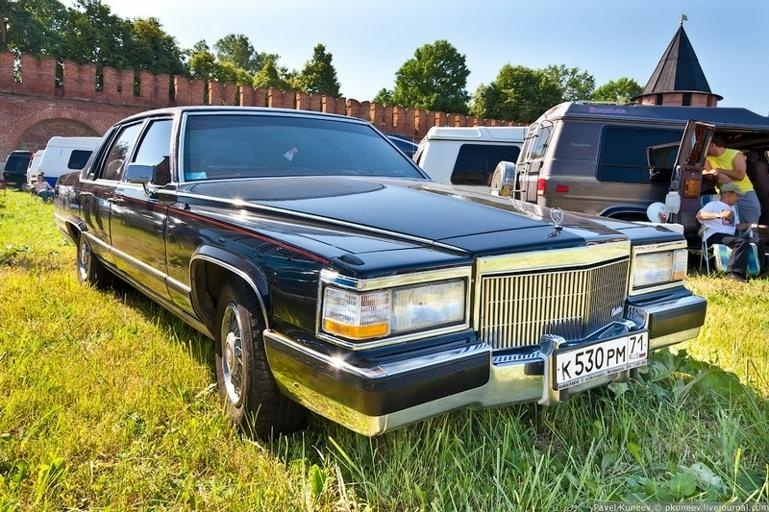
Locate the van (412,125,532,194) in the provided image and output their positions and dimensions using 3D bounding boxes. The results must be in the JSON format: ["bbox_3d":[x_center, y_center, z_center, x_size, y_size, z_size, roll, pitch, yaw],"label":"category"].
[{"bbox_3d":[1.677,-2.165,12.014,2.607,1.376,1.641,-3,15,-13],"label":"van"}]

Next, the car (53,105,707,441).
[{"bbox_3d":[-0.861,-0.113,4.448,2.216,1.291,4.743,-6,13,-39],"label":"car"}]

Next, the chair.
[{"bbox_3d":[4.532,-0.300,7.368,0.732,1.080,1.276,-10,0,31],"label":"chair"}]

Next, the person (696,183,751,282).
[{"bbox_3d":[4.696,-0.353,7.557,0.636,1.328,0.744,8,1,-7],"label":"person"}]

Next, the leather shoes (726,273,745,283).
[{"bbox_3d":[4.486,0.286,7.098,0.123,0.049,0.133,18,-2,-28],"label":"leather shoes"}]

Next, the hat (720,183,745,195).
[{"bbox_3d":[4.819,-0.934,7.699,0.242,0.124,0.170,-6,19,-9],"label":"hat"}]
